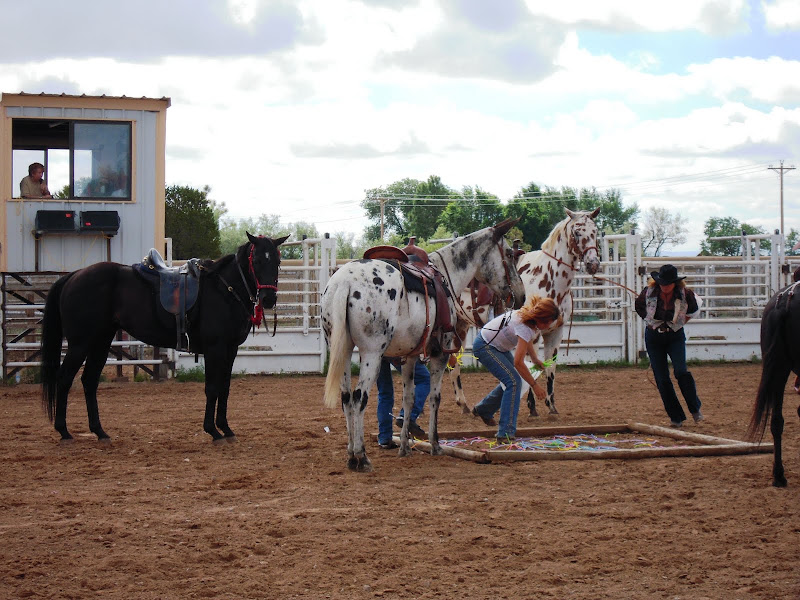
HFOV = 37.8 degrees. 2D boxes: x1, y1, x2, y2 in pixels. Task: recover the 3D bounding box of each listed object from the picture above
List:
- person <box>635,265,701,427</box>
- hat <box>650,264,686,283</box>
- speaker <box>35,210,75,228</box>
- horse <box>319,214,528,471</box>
[{"bbox_3d":[3.373,0.546,14.628,0.652,2.015,0.798,-6,9,-43],"label":"person"},{"bbox_3d":[3.625,-0.346,15.724,0.441,0.211,0.515,5,-3,12],"label":"hat"},{"bbox_3d":[-5.446,-1.261,18.427,0.513,0.294,0.345,0,-5,-11],"label":"speaker"},{"bbox_3d":[0.144,0.445,12.751,2.316,2.553,0.694,-6,9,-42],"label":"horse"}]
